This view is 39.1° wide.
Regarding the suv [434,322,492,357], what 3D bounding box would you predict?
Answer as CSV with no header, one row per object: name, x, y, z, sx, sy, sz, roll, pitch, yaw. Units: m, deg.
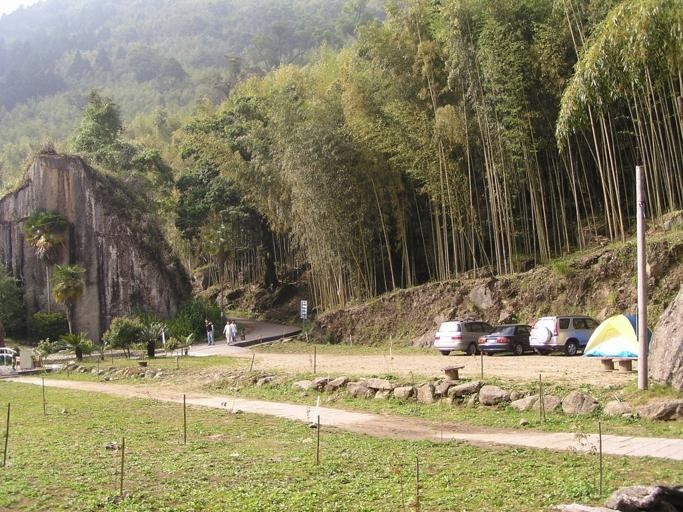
suv,6.239,4.267,48.992,2.419,1.856,2.372,-2,-1,-39

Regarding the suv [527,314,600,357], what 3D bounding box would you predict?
suv,10.599,3.910,46.626,2.964,1.887,2.185,0,-3,-36

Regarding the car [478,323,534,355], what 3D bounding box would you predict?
car,8.104,4.161,47.426,1.238,0.956,2.965,-2,0,40

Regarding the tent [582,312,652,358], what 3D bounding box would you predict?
tent,11.968,3.632,41.769,2.214,1.935,2.726,-7,1,14
